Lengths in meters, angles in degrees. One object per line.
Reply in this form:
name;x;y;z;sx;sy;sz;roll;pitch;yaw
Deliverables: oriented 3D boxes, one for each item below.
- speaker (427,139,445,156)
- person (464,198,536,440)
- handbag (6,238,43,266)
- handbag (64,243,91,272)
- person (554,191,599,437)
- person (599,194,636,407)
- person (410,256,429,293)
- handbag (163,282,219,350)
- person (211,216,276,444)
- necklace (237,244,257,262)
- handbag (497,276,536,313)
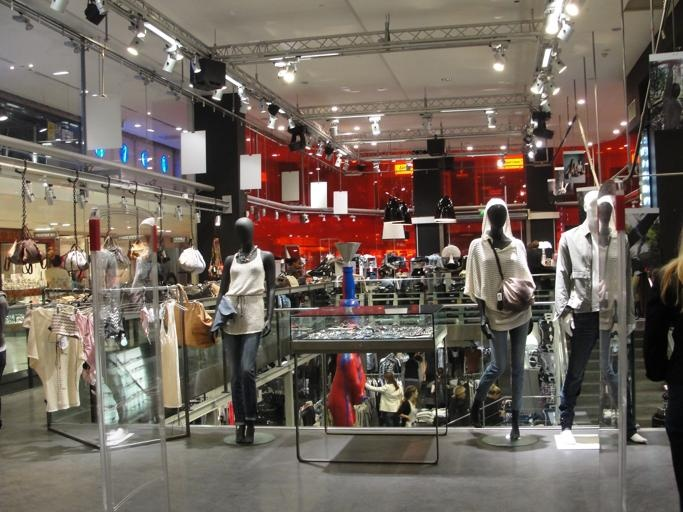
speaker;2.594;-3.039;15.631;0.526;0.585;0.408;-2;-5;7
person;1.400;0.540;5.012;0.579;2.094;0.482;-2;2;17
handbag;-4.012;-0.031;7.217;0.484;0.416;0.284;2;-6;-3
handbag;-3.783;0.025;8.166;0.472;0.527;0.299;1;-1;24
person;1.948;0.493;4.688;0.340;2.060;0.777;-2;2;23
person;1.508;0.227;3.115;0.175;1.141;0.281;-2;2;25
person;1.997;0.342;14.818;0.409;0.587;1.426;-1;11;4
handbag;-1.508;0.618;5.648;0.798;0.778;0.301;-1;0;30
person;-0.895;0.667;5.234;0.595;1.425;0.473;-3;2;-9
necklace;-0.890;-0.015;5.286;0.121;0.176;0.076;1;-27;16
handbag;1.466;0.323;4.815;0.244;0.261;0.134;3;-15;1
